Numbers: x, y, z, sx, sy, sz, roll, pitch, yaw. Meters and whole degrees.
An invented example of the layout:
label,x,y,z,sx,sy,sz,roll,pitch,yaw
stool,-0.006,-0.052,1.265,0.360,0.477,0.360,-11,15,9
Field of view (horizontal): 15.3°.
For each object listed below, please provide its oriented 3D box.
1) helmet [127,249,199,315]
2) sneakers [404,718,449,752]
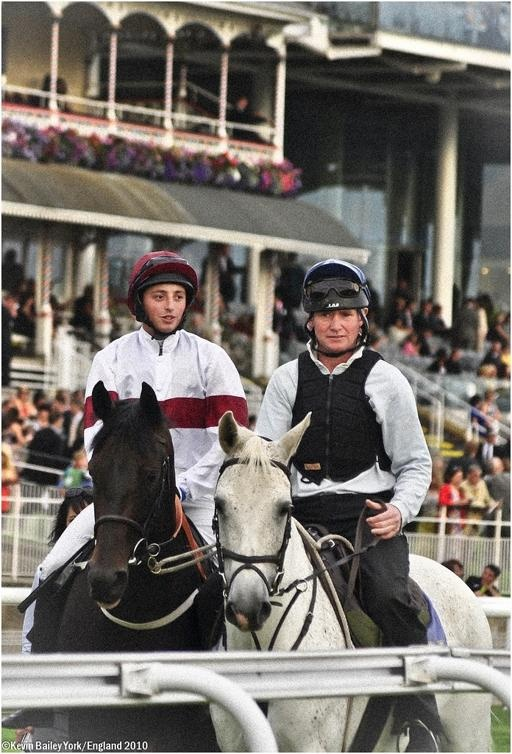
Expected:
label,x,y,z,sx,sy,sz,roll,pitch,yaw
helmet,-0.613,-0.650,12.464,0.357,0.384,0.469,6,-24,-15
sneakers,1.075,2.286,12.032,0.185,0.240,0.215,-3,-16,11
